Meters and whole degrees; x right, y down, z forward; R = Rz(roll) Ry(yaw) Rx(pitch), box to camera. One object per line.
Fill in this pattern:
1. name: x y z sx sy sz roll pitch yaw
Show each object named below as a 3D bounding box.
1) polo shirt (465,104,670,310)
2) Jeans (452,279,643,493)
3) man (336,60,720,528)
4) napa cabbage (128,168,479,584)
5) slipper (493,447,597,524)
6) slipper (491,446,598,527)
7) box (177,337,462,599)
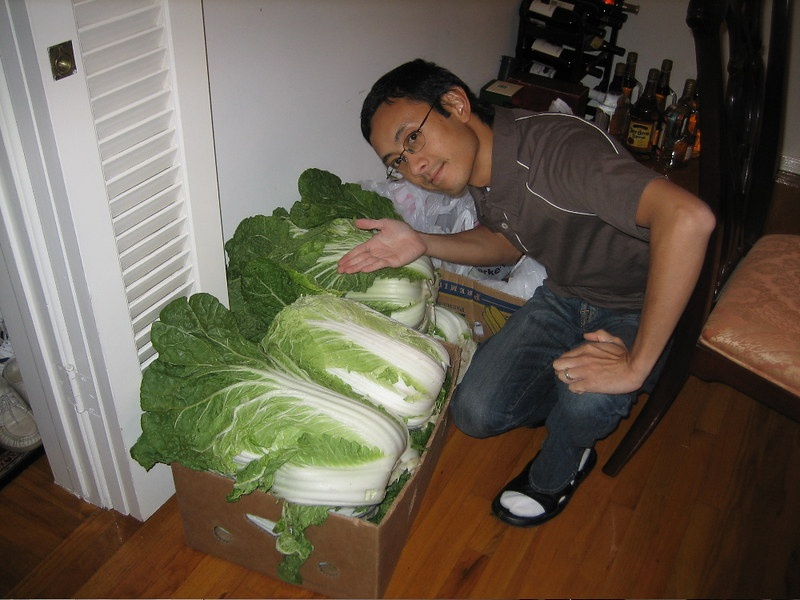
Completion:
1. polo shirt: 0.456 -0.234 1.632 0.576 0.578 0.349 22 38 28
2. Jeans: 0.529 0.274 1.858 0.460 0.260 0.703 32 72 33
3. man: 0.368 -0.024 1.870 1.112 1.485 0.698 2 23 23
4. napa cabbage: -0.235 0.214 1.684 0.762 0.776 0.980 14 35 19
5. slipper: 0.483 0.603 1.785 0.392 0.116 0.165 -37 44 -24
6. slipper: 0.484 0.599 1.791 0.401 0.119 0.168 -38 44 -23
7. box: -0.271 0.474 1.441 0.538 0.349 0.551 14 55 12
